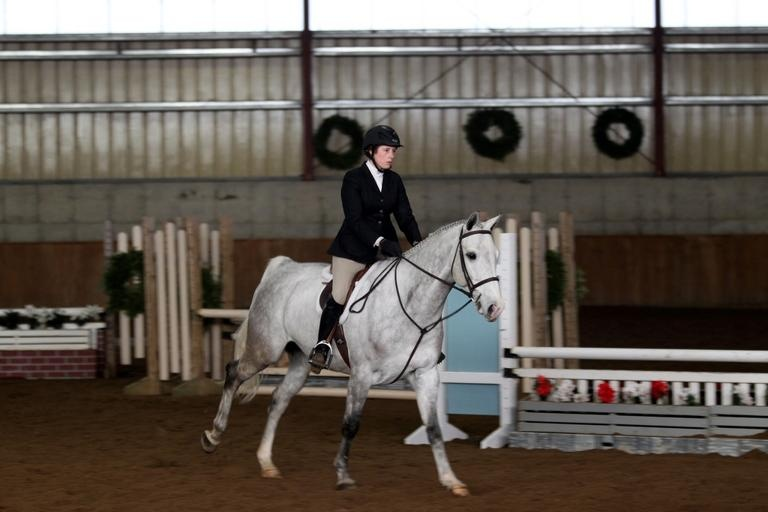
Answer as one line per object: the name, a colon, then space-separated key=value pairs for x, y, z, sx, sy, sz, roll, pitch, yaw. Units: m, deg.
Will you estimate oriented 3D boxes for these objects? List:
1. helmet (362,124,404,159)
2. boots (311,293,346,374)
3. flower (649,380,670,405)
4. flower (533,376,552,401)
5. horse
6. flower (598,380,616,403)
helmet: x=-0.036 y=-1.808 z=22.978 sx=0.518 sy=0.356 sz=0.661 roll=-5 pitch=3 yaw=-38
boots: x=-0.892 y=1.233 z=22.973 sx=0.383 sy=0.377 sz=1.289 roll=-21 pitch=31 yaw=19
flower: x=4.355 y=2.127 z=23.719 sx=0.299 sy=0.354 sz=0.097 roll=0 pitch=1 yaw=3
flower: x=2.520 y=2.077 z=23.981 sx=0.303 sy=0.396 sz=0.149 roll=1 pitch=1 yaw=40
horse: x=-0.377 y=1.502 z=23.493 sx=5.762 sy=4.020 sz=1.716 roll=0 pitch=-4 yaw=40
flower: x=3.514 y=2.144 z=23.783 sx=0.305 sy=0.285 sz=0.125 roll=17 pitch=-12 yaw=-7
